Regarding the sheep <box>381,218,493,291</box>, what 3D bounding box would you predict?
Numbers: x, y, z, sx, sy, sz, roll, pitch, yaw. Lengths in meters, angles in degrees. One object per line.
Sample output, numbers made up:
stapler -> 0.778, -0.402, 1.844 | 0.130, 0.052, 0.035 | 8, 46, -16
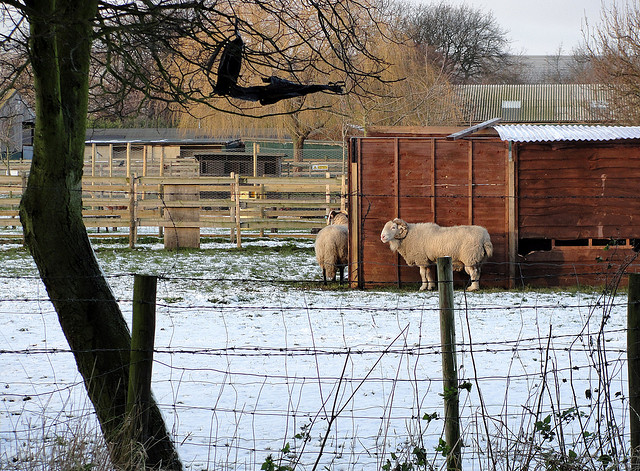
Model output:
sheep -> 2.318, 0.359, 30.906 | 2.092, 1.473, 0.785 | 0, 9, 14

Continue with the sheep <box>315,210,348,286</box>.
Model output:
sheep -> 0.362, 0.290, 32.254 | 0.737, 1.551, 2.036 | -1, 5, 6
